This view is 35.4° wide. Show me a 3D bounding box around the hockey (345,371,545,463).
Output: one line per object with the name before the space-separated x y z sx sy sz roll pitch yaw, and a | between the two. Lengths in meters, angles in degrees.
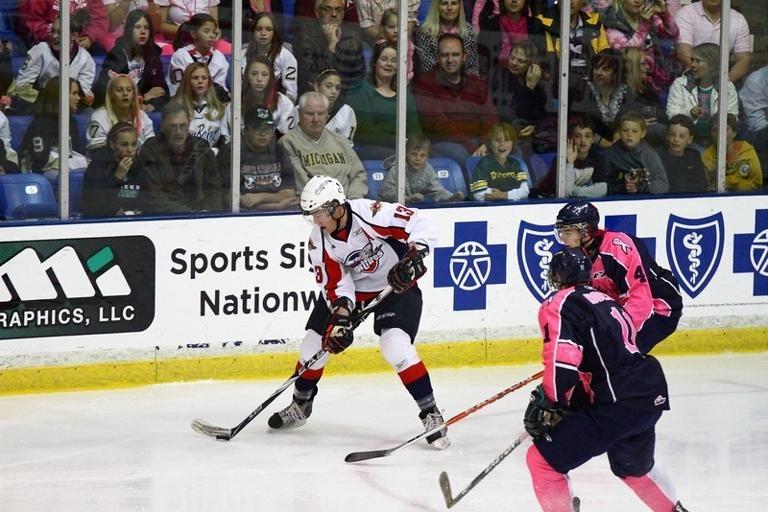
hockey | 0.410 1.124 8.240 1.246 0.103 0.208 -25 7 8

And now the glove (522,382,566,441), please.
glove | 0.901 0.892 6.797 0.311 0.289 0.222 -9 1 0

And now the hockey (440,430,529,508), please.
hockey | 0.625 1.260 7.269 0.631 0.534 0.337 0 8 22

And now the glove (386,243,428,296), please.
glove | 0.169 0.089 8.027 0.281 0.336 0.234 -4 8 -1

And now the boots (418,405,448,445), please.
boots | 0.338 1.158 8.041 0.116 0.164 0.340 -30 20 14

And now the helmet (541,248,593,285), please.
helmet | 1.054 0.063 6.895 0.196 0.206 0.235 -2 16 -10

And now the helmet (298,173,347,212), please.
helmet | -0.369 -0.396 7.927 0.285 0.256 0.215 -7 -6 -38

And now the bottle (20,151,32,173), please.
bottle | -2.581 -0.661 8.676 0.084 0.148 0.025 -5 8 -7

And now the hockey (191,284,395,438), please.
hockey | -0.705 0.766 8.661 1.452 0.155 0.205 -37 -11 -14

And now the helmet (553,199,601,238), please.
helmet | 1.230 -0.230 7.653 0.251 0.216 0.213 4 -6 -16
